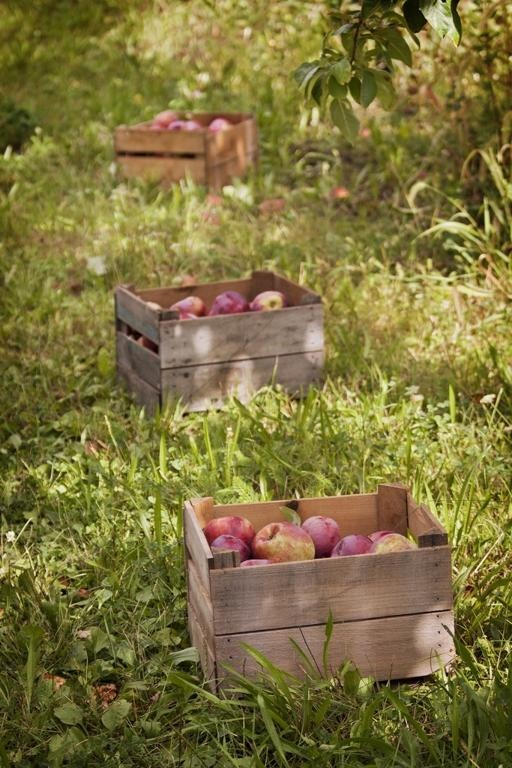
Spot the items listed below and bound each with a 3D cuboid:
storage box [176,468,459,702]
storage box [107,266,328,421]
[{"bbox_3d":[0.137,0.473,1.970,0.571,0.371,0.488,-4,14,-11],"label":"storage box"},{"bbox_3d":[-0.235,-0.383,3.594,0.926,0.525,0.625,-9,20,-22],"label":"storage box"}]
